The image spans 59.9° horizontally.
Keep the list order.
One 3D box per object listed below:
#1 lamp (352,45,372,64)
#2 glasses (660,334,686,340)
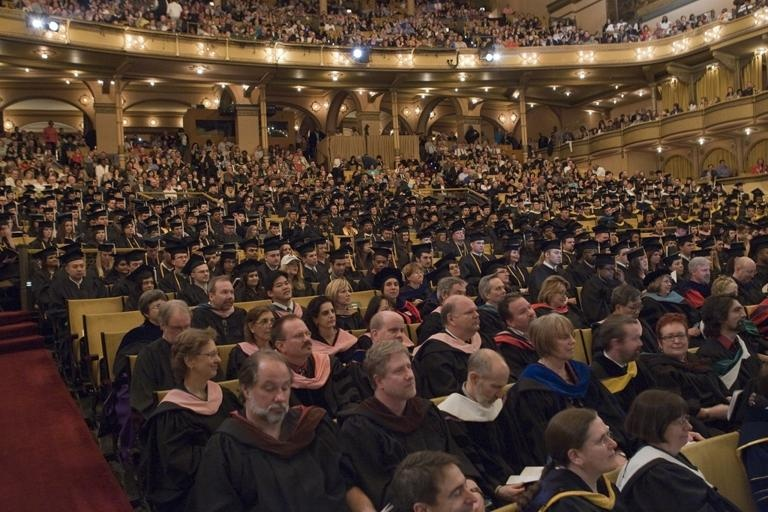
[{"bbox_3d":[-0.940,-8.586,28.354,0.698,0.660,0.649,-22,-24,-12],"label":"lamp"},{"bbox_3d":[3.394,0.964,7.826,0.121,0.039,0.126,-5,-19,11],"label":"glasses"}]
